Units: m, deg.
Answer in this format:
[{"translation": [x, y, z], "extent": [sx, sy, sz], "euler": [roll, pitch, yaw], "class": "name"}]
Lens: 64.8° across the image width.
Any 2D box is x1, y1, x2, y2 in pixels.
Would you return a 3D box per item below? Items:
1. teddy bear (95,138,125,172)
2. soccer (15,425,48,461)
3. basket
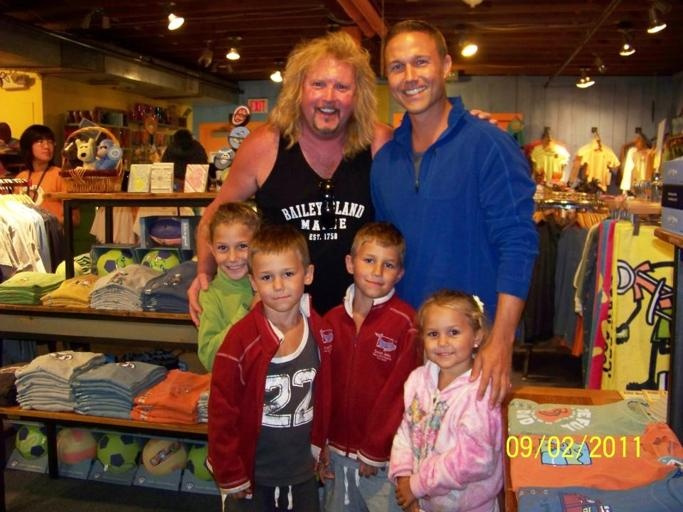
[{"translation": [-1.855, -0.794, 4.273], "extent": [0.185, 0.255, 0.168], "euler": [1, 0, 26], "class": "teddy bear"}, {"translation": [-2.271, 1.366, 3.935], "extent": [0.341, 0.249, 0.091], "euler": [4, 2, 25], "class": "soccer"}, {"translation": [-1.968, -0.770, 4.264], "extent": [0.458, 0.533, 0.277], "euler": [-4, -2, -8], "class": "basket"}]
